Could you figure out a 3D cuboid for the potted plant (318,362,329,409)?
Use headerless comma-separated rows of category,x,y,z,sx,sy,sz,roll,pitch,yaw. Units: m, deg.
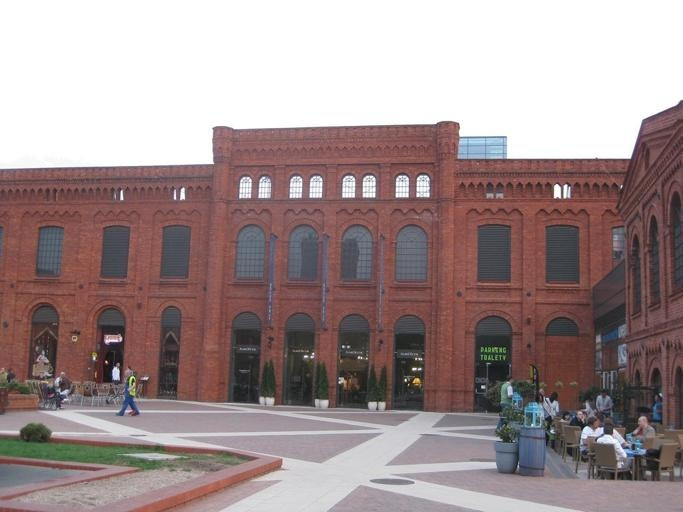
potted plant,-1.074,7.275,42.949,0.750,2.533,0.517,2,-16,-3

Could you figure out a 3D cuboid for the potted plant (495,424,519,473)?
potted plant,4.619,5.394,21.327,0.693,1.341,0.478,-1,-16,9

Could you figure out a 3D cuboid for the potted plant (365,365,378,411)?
potted plant,1.681,7.337,42.540,0.595,2.478,0.433,-2,-16,13

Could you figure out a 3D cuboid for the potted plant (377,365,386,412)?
potted plant,2.254,7.389,42.493,0.515,2.355,0.330,0,-16,7

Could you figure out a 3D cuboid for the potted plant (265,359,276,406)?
potted plant,-4.024,7.209,43.430,0.467,2.561,0.579,0,-16,6

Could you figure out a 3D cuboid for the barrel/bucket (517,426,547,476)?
barrel/bucket,5.240,5.407,21.100,0.716,1.336,0.377,-1,-16,10
